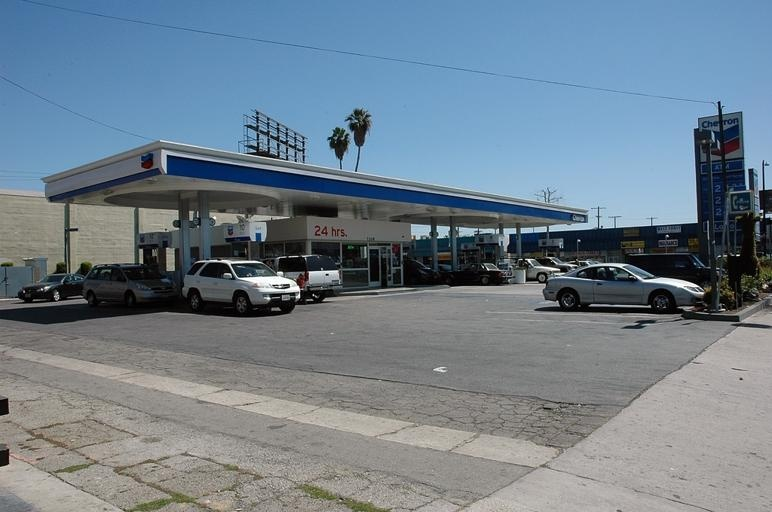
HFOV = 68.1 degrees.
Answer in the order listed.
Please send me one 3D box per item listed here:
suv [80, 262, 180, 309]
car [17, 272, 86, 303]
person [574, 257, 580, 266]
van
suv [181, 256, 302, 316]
[{"bbox_3d":[-11.116,1.301,24.953,3.685,1.434,2.006,-3,-3,32],"label":"suv"},{"bbox_3d":[-17.716,1.725,30.850,1.683,1.043,3.710,-2,-4,18],"label":"car"},{"bbox_3d":[19.933,0.527,59.352,0.943,0.420,1.443,2,7,20],"label":"person"},{"bbox_3d":[-3.309,0.942,24.963,3.323,1.311,1.865,6,6,44],"label":"van"},{"bbox_3d":[-5.437,1.132,21.697,3.975,1.552,2.085,-3,-4,38],"label":"suv"}]
